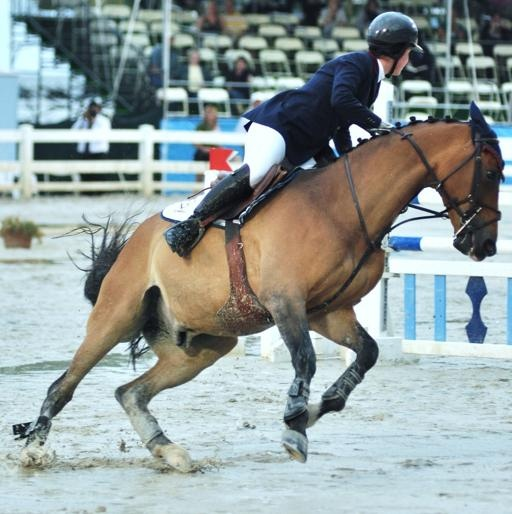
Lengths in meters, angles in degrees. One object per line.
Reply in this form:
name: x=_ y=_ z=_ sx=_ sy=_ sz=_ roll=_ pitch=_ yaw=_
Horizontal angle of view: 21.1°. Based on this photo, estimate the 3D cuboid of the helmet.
helmet: x=0.749 y=-1.208 z=7.432 sx=0.285 sy=0.212 sz=0.210 roll=-21 pitch=26 yaw=-12

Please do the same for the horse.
horse: x=0.086 y=0.142 z=7.296 sx=2.225 sy=2.076 sz=0.847 roll=7 pitch=6 yaw=18
